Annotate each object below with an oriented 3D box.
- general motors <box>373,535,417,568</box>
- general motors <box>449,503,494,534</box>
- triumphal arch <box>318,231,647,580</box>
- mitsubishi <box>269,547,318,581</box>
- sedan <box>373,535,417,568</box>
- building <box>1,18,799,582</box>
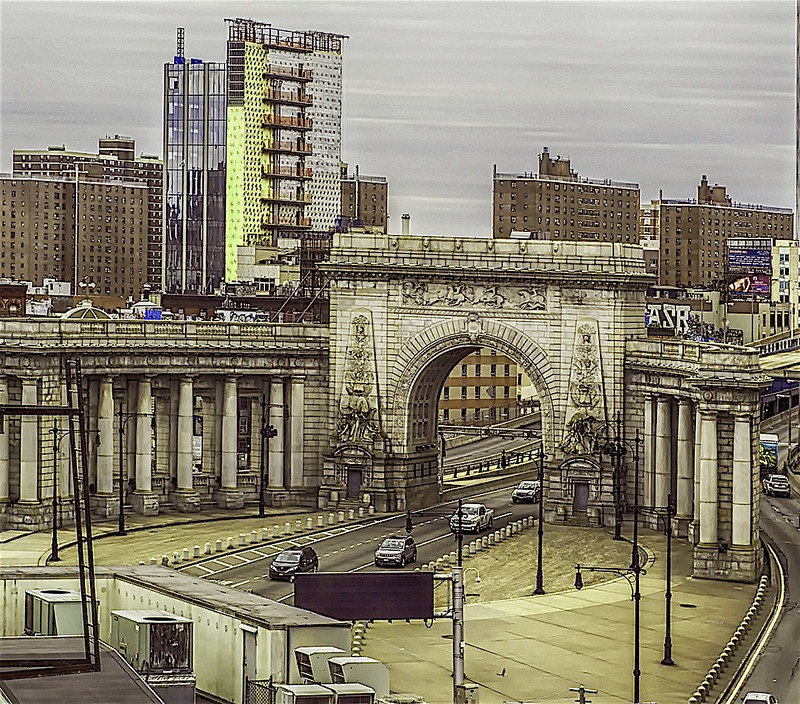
[{"bbox_3d":[-0.219,12.065,95.797,1.862,1.436,3.254,1,2,13],"label":"general motors"},{"bbox_3d":[4.896,11.244,107.791,1.750,1.686,4.092,-2,-2,14],"label":"general motors"},{"bbox_3d":[5.707,3.770,111.895,20.646,19.952,10.435,1,4,11],"label":"triumphal arch"},{"bbox_3d":[-6.127,12.196,91.179,2.540,1.513,3.121,0,2,7],"label":"mitsubishi"},{"bbox_3d":[-0.236,12.067,95.725,1.771,1.436,3.156,1,2,16],"label":"sedan"},{"bbox_3d":[-0.923,-2.105,148.624,65.011,24.881,25.487,0,-1,9],"label":"building"}]
